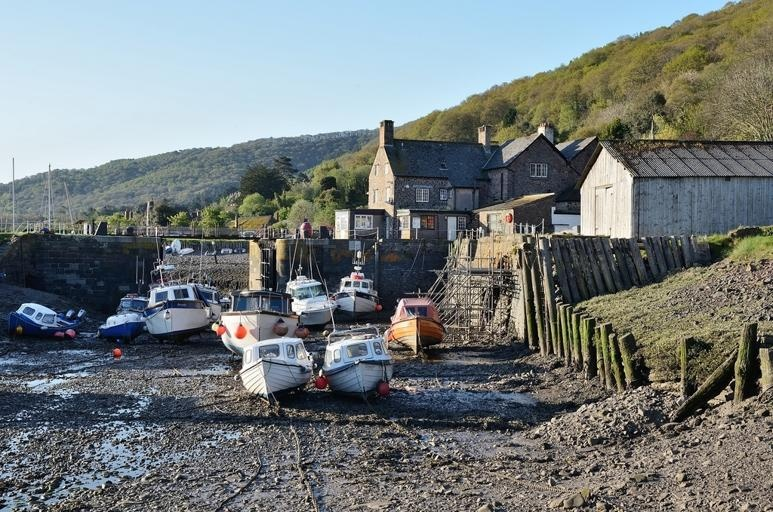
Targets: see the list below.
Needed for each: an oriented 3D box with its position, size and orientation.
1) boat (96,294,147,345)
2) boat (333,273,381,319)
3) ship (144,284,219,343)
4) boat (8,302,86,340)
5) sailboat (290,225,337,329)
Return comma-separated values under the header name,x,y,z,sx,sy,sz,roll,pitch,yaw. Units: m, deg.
name,x,y,z,sx,sy,sz,roll,pitch,yaw
boat,-15.034,3.624,58.287,2.724,2.574,4.416,-2,-2,-11
boat,-1.887,2.529,64.955,2.657,2.803,2.915,-3,-2,6
ship,-11.731,3.171,56.932,3.422,3.033,2.487,-2,-2,-15
boat,-18.633,3.601,56.212,1.677,2.032,4.111,-4,-3,42
sailboat,-4.702,2.574,62.287,3.944,4.316,9.459,0,0,-19
